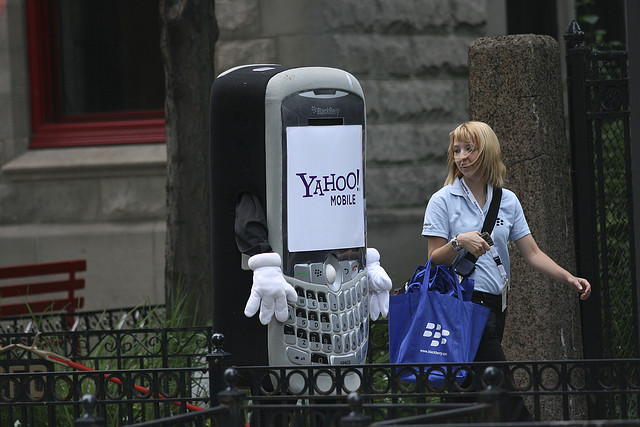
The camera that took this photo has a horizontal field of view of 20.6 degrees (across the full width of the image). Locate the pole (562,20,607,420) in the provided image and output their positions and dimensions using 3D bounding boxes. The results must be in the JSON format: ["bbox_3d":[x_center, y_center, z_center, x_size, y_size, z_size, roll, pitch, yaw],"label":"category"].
[{"bbox_3d":[2.990,-0.254,19.870,0.273,3.707,0.581,-3,-8,-7],"label":"pole"}]

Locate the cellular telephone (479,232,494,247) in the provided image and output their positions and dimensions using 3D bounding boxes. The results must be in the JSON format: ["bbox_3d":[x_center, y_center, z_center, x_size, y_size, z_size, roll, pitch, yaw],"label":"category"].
[{"bbox_3d":[1.788,0.278,18.773,0.137,0.129,0.033,-30,6,-14],"label":"cellular telephone"}]
